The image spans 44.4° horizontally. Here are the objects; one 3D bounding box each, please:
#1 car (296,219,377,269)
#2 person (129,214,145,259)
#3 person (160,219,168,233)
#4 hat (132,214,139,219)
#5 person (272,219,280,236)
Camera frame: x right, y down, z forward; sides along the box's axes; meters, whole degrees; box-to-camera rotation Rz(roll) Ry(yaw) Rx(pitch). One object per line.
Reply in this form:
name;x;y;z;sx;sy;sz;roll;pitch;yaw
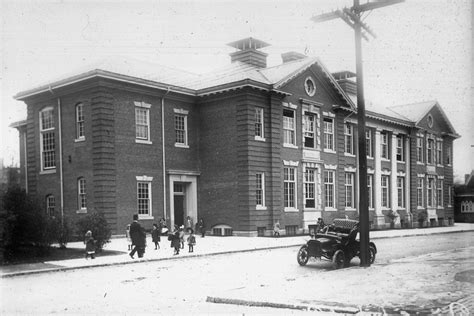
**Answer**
car;4.894;4.568;30.952;3.899;2.183;2.299;9;-15;-41
person;-5.931;4.602;34.553;0.923;2.617;1.076;-1;-10;-11
person;-5.674;5.214;45.231;0.609;1.227;1.205;-1;-10;-8
hat;-6.042;3.514;34.855;0.376;0.253;0.463;0;3;42
person;3.123;5.511;46.262;0.588;1.288;0.891;-4;-10;7
